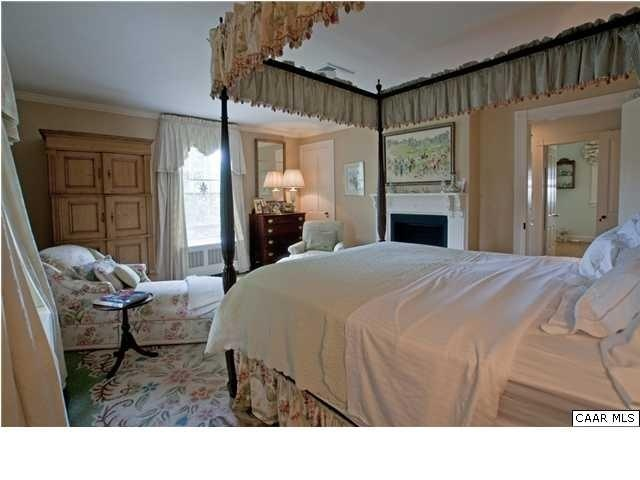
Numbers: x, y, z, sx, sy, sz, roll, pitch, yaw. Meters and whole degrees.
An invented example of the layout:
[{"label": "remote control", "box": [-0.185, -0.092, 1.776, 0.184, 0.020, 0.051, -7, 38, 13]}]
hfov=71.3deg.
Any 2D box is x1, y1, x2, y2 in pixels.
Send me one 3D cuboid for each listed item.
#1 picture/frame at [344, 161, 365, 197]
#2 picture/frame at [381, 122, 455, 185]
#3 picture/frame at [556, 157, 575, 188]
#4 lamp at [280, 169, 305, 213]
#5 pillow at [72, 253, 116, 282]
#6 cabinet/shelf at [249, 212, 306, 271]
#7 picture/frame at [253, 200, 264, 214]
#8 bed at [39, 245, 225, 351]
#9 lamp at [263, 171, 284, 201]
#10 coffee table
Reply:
[{"label": "picture/frame", "box": [0.564, -1.025, 7.288, 0.043, 0.631, 0.495, -9, 12, -36]}, {"label": "picture/frame", "box": [1.382, -1.197, 6.107, 0.035, 0.712, 0.947, -6, 9, -38]}, {"label": "picture/frame", "box": [5.119, -1.396, 9.344, 0.311, 0.617, 0.085, 0, 0, 30]}, {"label": "lamp", "box": [-0.478, -0.879, 7.735, 0.398, 0.722, 0.409, 6, 11, 32]}, {"label": "pillow", "box": [-2.205, 0.275, 4.437, 0.299, 0.145, 0.451, -2, 15, -2]}, {"label": "cabinet/shelf", "box": [-0.714, -0.063, 7.652, 0.882, 0.880, 0.467, -8, 12, -38]}, {"label": "picture/frame", "box": [-1.041, -0.549, 7.425, 0.213, 0.267, 0.029, 10, -25, -45]}, {"label": "bed", "box": [-1.860, 0.634, 4.615, 1.544, 1.006, 0.997, -2, 6, -12]}, {"label": "lamp", "box": [-0.806, -0.914, 7.614, 0.336, 0.523, 0.484, -3, 15, -6]}, {"label": "coffee table", "box": [-1.754, 0.798, 4.050, 0.490, 0.653, 0.513, 1, 13, -8]}]
